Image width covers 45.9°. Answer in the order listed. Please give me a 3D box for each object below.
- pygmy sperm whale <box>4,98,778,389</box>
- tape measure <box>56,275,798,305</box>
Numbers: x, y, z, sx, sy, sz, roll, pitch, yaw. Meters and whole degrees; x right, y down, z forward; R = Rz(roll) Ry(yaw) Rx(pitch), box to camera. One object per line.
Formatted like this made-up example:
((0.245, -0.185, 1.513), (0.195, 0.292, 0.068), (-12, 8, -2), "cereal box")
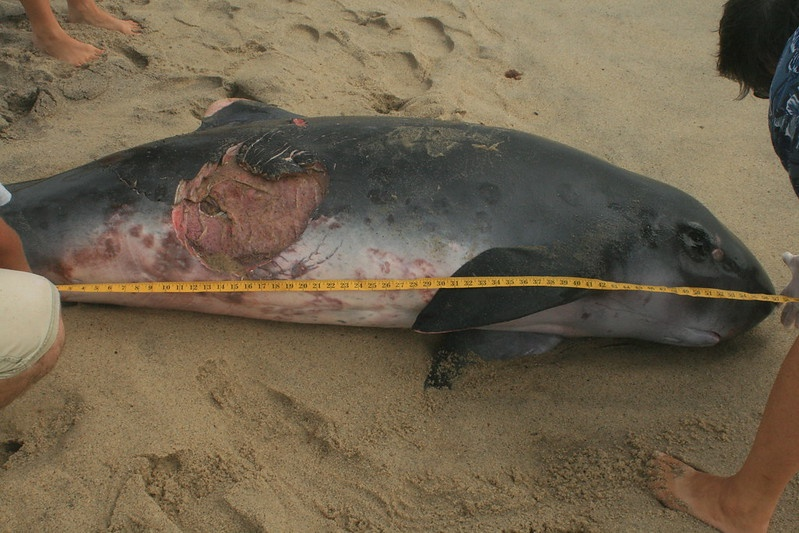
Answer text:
((0.078, 0.120, 7.416), (6.175, 2.009, 1.979), (3, 35, 4), "pygmy sperm whale")
((0.152, 0.175, 7.088), (4.650, 0.144, 0.081), (2, 4, 5), "tape measure")
